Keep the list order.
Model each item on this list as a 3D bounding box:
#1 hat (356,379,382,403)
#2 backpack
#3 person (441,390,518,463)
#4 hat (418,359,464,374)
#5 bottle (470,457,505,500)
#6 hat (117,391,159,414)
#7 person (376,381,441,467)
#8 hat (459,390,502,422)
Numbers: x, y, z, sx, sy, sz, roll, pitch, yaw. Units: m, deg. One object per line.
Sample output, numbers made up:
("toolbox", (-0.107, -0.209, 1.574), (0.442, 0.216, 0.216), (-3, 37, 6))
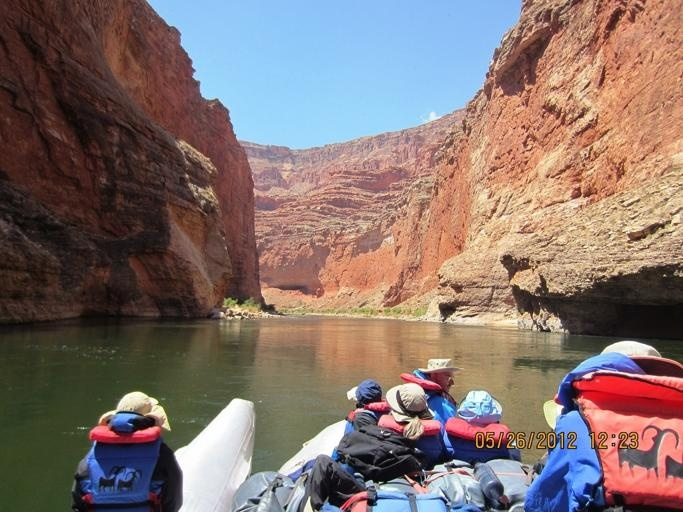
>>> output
("hat", (0.346, 1.700, 6.031), (0.244, 0.273, 0.333), (2, 2, 10))
("backpack", (0.423, 2.124, 5.228), (0.986, 0.328, 0.871), (-1, 0, 20))
("person", (1.687, 1.917, 5.747), (0.925, 0.603, 1.304), (-2, 16, 19))
("hat", (1.231, 1.465, 6.252), (0.377, 0.120, 0.387), (-18, -22, 36))
("bottle", (1.480, 2.283, 4.793), (0.278, 0.298, 0.297), (0, -6, 9))
("hat", (-1.925, 1.396, 4.583), (0.233, 0.153, 0.316), (7, 10, 19))
("person", (0.852, 1.756, 5.545), (0.730, 0.443, 1.131), (-3, -3, 4))
("hat", (1.514, 1.684, 5.302), (0.445, 0.366, 0.198), (0, -6, 10))
